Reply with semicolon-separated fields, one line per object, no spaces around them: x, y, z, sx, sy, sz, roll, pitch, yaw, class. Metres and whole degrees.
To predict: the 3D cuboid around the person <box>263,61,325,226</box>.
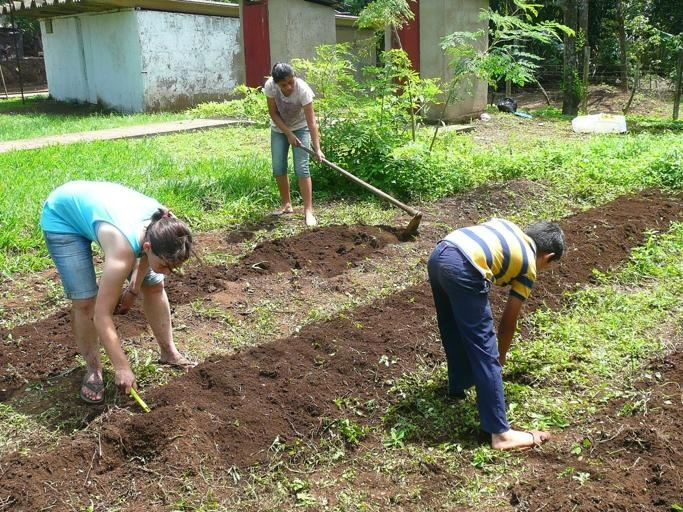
-0.575;-1.346;8.204;0.708;1.876;0.881;1;16;-7;person

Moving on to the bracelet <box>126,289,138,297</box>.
-1.661;0.295;5.431;0.063;0.017;0.065;28;18;8;bracelet

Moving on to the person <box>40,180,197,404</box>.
-1.730;0.238;5.441;1.154;1.530;1.396;-6;19;-29;person

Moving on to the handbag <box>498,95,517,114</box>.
4.365;-3.899;17.750;0.635;0.369;0.788;9;26;19;handbag
